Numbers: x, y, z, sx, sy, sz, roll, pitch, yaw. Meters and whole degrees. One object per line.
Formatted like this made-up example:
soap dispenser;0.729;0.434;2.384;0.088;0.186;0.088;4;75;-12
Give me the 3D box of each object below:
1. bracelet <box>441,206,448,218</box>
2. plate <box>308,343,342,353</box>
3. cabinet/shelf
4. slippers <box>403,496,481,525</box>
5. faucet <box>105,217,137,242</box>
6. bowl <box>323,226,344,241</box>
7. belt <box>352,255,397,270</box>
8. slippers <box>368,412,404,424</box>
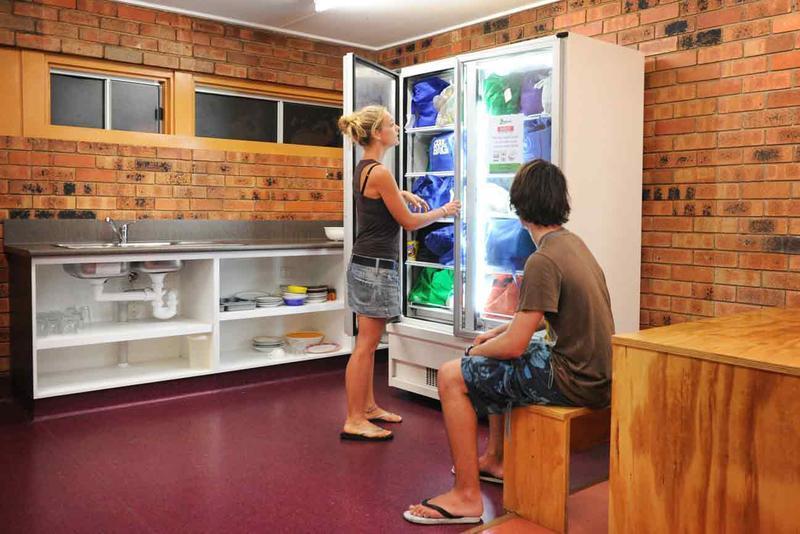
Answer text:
bracelet;0.300;-0.379;3.886;0.052;0.066;0.063;5;2;-6
plate;-0.719;0.748;5.231;0.193;0.051;0.106;-2;-1;-13
cabinet/shelf;-1.765;0.327;4.806;2.397;1.104;0.741;-5;12;-32
slippers;0.217;1.236;2.928;0.284;0.069;0.150;4;-11;3
faucet;-2.434;-0.313;4.855;0.177;0.207;0.146;0;10;-2
bowl;-0.643;-0.322;5.439;0.191;0.075;0.181;0;-2;0
belt;-0.184;-0.031;3.757;0.309;0.105;0.092;0;10;-2
slippers;-0.116;1.067;4.055;0.188;0.060;0.092;-1;-4;-1
